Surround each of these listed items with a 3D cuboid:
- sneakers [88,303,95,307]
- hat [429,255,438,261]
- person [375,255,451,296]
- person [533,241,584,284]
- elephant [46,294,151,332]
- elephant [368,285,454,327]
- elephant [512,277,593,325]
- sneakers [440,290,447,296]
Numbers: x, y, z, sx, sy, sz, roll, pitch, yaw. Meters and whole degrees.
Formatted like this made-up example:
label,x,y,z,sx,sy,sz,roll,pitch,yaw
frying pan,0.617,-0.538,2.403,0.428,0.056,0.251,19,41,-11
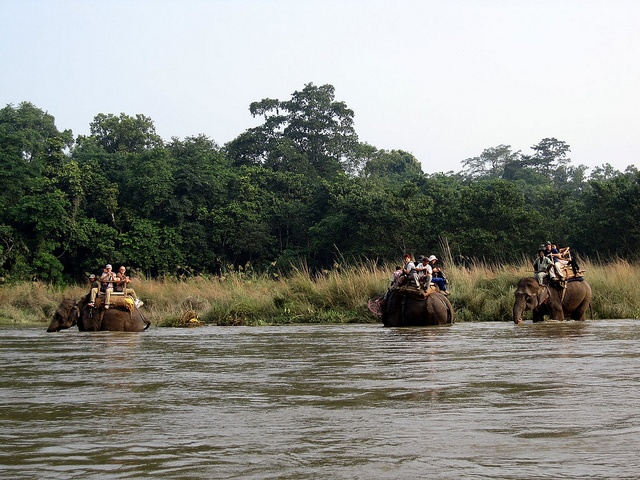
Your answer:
label,x,y,z,sx,sy,sz,roll,pitch,yaw
sneakers,-4.923,1.401,13.525,0.149,0.068,0.071,3,-3,20
hat,2.622,0.439,14.658,0.242,0.114,0.280,-4,-3,30
person,2.303,0.805,13.964,1.299,0.858,0.975,-2,-4,-2
person,5.177,0.663,13.755,0.833,1.124,1.411,0,-5,24
elephant,-4.927,1.654,14.009,2.526,0.882,1.662,-4,-8,9
elephant,1.877,1.546,14.040,1.770,1.047,0.673,-6,6,39
elephant,4.966,1.293,13.537,2.089,0.956,0.670,3,-10,-34
sneakers,2.893,1.223,14.621,0.131,0.134,0.045,-17,-48,-2
